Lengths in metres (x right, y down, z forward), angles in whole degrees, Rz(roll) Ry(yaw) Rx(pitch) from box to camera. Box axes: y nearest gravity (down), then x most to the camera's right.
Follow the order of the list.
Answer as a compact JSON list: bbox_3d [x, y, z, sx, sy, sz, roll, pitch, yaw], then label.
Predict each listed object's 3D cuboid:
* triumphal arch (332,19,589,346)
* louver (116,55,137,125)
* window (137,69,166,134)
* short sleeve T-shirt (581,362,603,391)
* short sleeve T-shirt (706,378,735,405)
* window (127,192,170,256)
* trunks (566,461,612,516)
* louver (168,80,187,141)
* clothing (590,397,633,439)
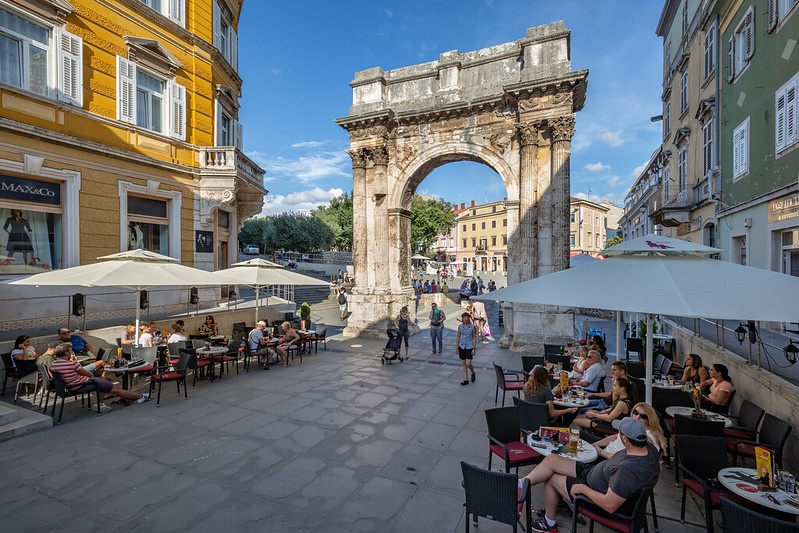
[{"bbox_3d":[2.576,-2.880,27.207,12.606,13.714,3.165,-2,-5,22],"label":"triumphal arch"},{"bbox_3d":[-10.965,-7.048,23.820,0.287,2.559,0.805,-5,-5,39],"label":"louver"},{"bbox_3d":[-10.401,-6.886,24.890,0.366,2.273,1.235,-5,-5,36],"label":"window"},{"bbox_3d":[5.779,3.307,17.769,0.362,0.553,0.662,16,-7,26],"label":"short sleeve T-shirt"},{"bbox_3d":[9.184,3.554,17.028,0.616,0.794,0.860,10,-6,32],"label":"short sleeve T-shirt"},{"bbox_3d":[-10.396,-1.782,24.369,0.245,3.107,2.677,-3,-4,29],"label":"window"},{"bbox_3d":[4.581,5.387,14.713,0.744,1.336,0.369,19,-21,-22],"label":"trunks"},{"bbox_3d":[-9.555,-6.580,25.611,0.156,2.416,0.926,0,3,17],"label":"louver"},{"bbox_3d":[6.067,4.334,17.099,1.064,1.645,1.107,6,-8,28],"label":"clothing"}]
